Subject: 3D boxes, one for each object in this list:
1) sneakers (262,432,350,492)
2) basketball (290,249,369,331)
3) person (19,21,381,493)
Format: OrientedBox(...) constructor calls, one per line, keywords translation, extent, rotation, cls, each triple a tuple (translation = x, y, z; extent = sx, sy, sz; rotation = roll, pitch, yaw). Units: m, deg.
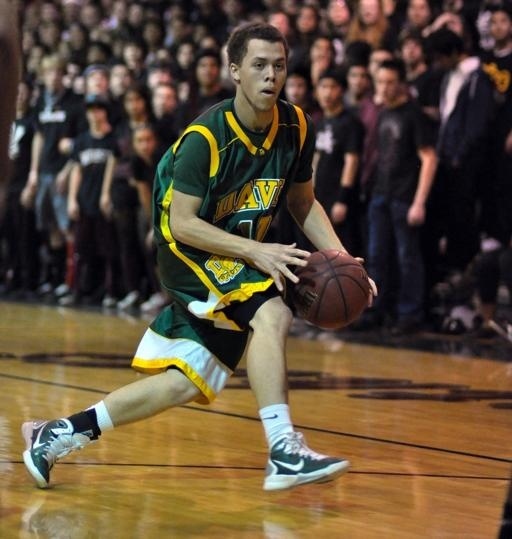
OrientedBox(translation=(0.111, 0.429, 1.503), extent=(0.231, 0.124, 0.079), rotation=(-22, -24, 33), cls="sneakers")
OrientedBox(translation=(0.200, 0.062, 1.847), extent=(0.234, 0.193, 0.221), rotation=(4, -9, -12), cls="basketball")
OrientedBox(translation=(-0.100, -0.047, 1.795), extent=(0.804, 1.228, 0.610), rotation=(2, 3, 14), cls="person")
